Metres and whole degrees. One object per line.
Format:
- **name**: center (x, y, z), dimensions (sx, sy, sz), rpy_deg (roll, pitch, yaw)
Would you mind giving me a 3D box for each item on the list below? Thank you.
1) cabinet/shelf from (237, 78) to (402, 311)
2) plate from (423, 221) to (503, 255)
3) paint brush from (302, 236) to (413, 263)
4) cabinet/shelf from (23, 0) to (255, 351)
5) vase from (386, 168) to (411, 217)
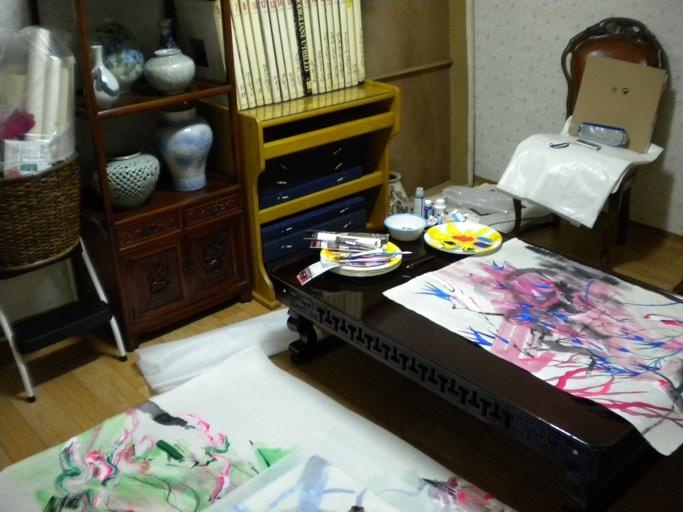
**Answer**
- **cabinet/shelf**: center (-0.145, -0.315, 2.601), dimensions (0.917, 0.900, 0.387), rpy_deg (-29, 43, -34)
- **plate**: center (0.515, -0.077, 2.279), dimensions (0.188, 0.033, 0.196), rpy_deg (8, 36, 9)
- **paint brush**: center (0.055, -0.028, 2.190), dimensions (0.491, 0.118, 0.136), rpy_deg (-1, 15, 1)
- **cabinet/shelf**: center (-0.755, -0.370, 2.410), dimensions (0.781, 1.429, 0.295), rpy_deg (-21, 33, -34)
- **vase**: center (0.386, -0.392, 3.382), dimensions (0.161, 0.234, 0.162), rpy_deg (-19, 4, 5)
